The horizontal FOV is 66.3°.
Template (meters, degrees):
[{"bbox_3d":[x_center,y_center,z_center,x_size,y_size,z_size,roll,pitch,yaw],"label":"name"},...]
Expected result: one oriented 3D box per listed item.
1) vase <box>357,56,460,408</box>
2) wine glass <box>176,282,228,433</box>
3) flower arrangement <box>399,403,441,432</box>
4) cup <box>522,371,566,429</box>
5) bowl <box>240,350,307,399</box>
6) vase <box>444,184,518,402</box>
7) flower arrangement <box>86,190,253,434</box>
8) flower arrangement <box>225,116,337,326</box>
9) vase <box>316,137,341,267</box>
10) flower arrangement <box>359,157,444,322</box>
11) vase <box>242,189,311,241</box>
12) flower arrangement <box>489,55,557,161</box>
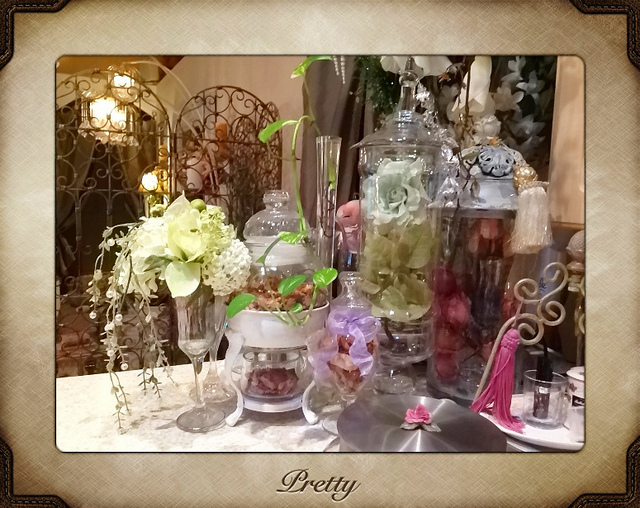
[{"bbox_3d":[0.224,-0.073,1.268,0.249,0.858,0.318,2,13,9],"label":"vase"},{"bbox_3d":[-0.298,0.221,1.182,0.119,0.336,0.224,-4,13,-17],"label":"wine glass"},{"bbox_3d":[0.209,0.344,1.048,0.052,0.030,0.066,-1,-6,2],"label":"flower arrangement"},{"bbox_3d":[0.530,0.343,1.163,0.093,0.120,0.115,6,1,37],"label":"cup"},{"bbox_3d":[-0.110,0.275,1.174,0.116,0.072,0.116,0,-6,0],"label":"bowl"},{"bbox_3d":[0.392,0.102,1.191,0.150,0.515,0.085,5,14,22],"label":"vase"},{"bbox_3d":[-0.374,0.096,1.118,0.252,0.358,0.273,-14,-23,18],"label":"flower arrangement"},{"bbox_3d":[-0.073,-0.077,1.170,0.236,0.501,0.319,-9,-4,25],"label":"flower arrangement"},{"bbox_3d":[0.019,-0.133,1.258,0.061,0.331,0.049,-1,13,0],"label":"vase"},{"bbox_3d":[0.207,-0.052,1.269,0.223,0.493,0.194,2,13,14],"label":"flower arrangement"},{"bbox_3d":[-0.117,-0.095,1.288,0.140,0.109,0.149,5,8,44],"label":"vase"},{"bbox_3d":[0.615,-0.447,1.543,0.173,0.348,0.175,7,12,15],"label":"flower arrangement"}]
